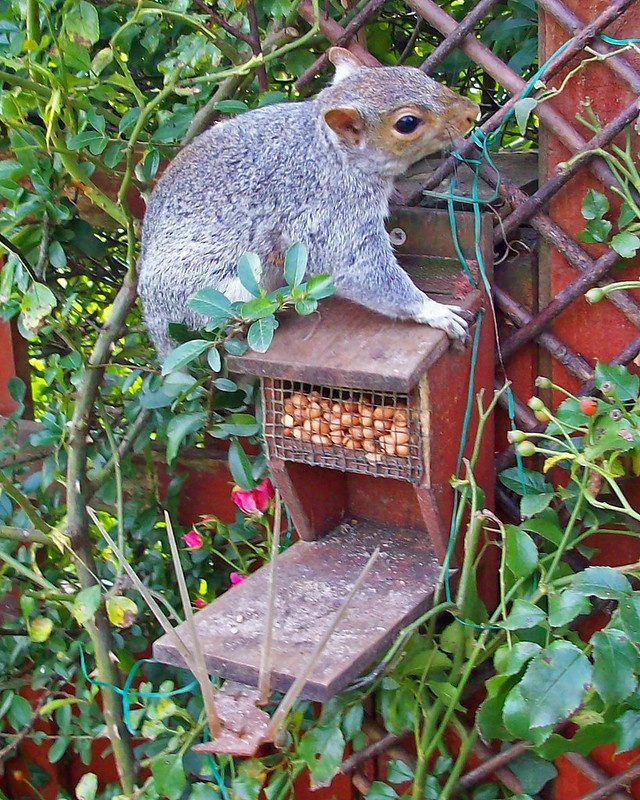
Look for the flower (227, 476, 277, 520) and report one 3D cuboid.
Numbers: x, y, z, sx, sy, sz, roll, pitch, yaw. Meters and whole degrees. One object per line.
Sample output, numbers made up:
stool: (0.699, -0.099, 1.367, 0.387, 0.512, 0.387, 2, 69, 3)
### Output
flower: (-0.140, 0.214, 1.819, 0.093, 0.095, 0.076, -27, 69, 11)
